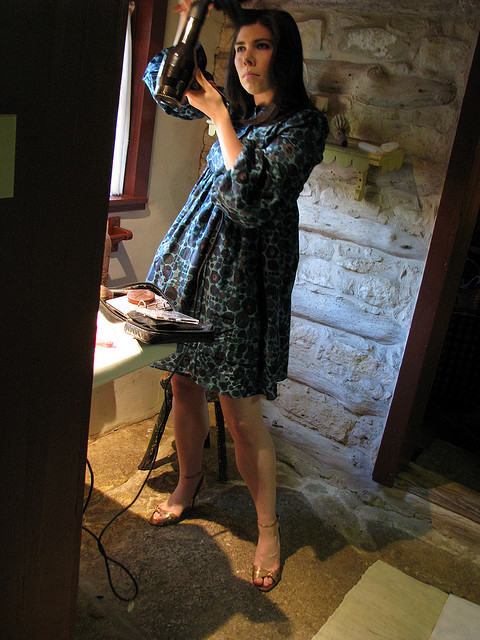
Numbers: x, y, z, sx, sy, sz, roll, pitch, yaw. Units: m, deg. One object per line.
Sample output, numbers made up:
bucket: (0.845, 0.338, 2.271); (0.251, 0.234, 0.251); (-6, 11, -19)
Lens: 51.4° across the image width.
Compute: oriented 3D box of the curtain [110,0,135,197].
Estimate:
curtain: (-0.444, -0.822, 1.910); (0.042, 0.694, 0.126); (12, 16, 2)

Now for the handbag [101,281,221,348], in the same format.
handbag: (-0.186, -0.018, 1.035); (0.207, 0.054, 0.127); (35, 23, 35)

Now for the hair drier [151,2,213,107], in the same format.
hair drier: (-0.128, -0.590, 1.090); (0.094, 0.220, 0.087); (8, 17, -10)

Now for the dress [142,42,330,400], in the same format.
dress: (0.008, -0.203, 1.438); (0.404, 0.821, 0.397); (-2, 21, -37)
